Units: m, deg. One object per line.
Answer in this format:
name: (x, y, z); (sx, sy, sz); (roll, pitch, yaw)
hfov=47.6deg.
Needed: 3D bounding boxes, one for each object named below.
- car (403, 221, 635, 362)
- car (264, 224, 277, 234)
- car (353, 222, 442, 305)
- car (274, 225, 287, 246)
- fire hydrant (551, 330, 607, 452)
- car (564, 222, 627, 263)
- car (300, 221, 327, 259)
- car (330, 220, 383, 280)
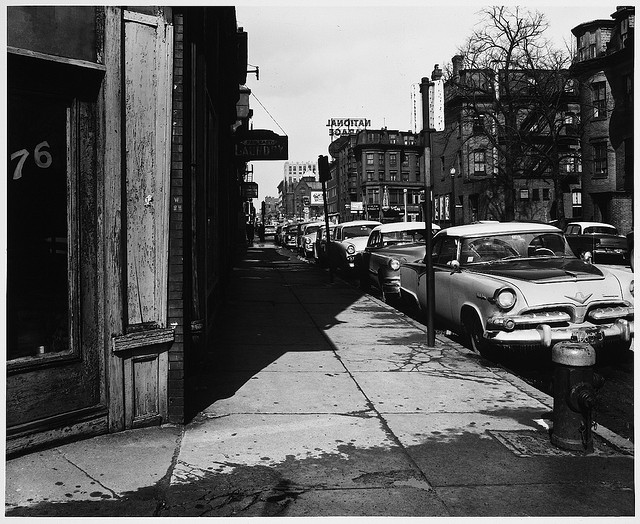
car: (2.471, 0.354, 9.989); (1.463, 1.047, 2.763); (0, 0, -13)
car: (-6.268, -4.201, 91.546); (1.492, 1.411, 3.889); (0, -1, -7)
car: (1.642, -0.100, 16.134); (1.062, 1.063, 2.575); (0, 2, -11)
car: (-2.864, -2.115, 53.910); (0.789, 1.070, 2.112); (0, 2, -10)
fire hydrant: (2.318, 1.215, 6.563); (0.434, 0.936, 0.336); (3, 6, 24)
car: (9.218, -0.689, 24.289); (1.151, 1.059, 2.826); (0, 6, -7)
car: (-0.406, -1.211, 35.440); (0.956, 1.002, 2.020); (0, 3, -10)
car: (0.998, -0.496, 21.177); (1.015, 1.017, 1.911); (-1, 3, -15)
